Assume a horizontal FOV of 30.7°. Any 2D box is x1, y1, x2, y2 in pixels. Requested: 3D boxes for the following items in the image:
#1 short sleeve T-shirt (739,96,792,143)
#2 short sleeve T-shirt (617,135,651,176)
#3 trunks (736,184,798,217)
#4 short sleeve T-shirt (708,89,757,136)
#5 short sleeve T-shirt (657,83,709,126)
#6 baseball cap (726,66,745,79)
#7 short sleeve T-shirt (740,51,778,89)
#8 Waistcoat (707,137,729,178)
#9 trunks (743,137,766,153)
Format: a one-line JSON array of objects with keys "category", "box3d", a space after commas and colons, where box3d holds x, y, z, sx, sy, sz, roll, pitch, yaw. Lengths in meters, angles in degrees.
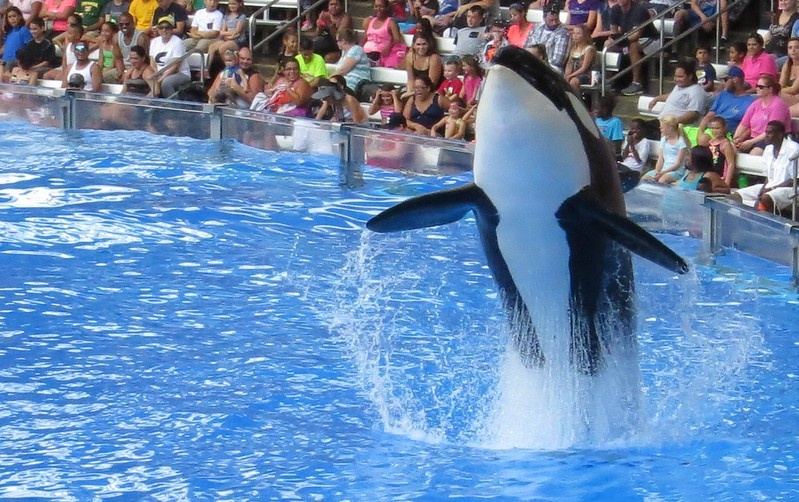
[{"category": "short sleeve T-shirt", "box3d": [4.520, -1.637, 18.041, 0.562, 0.589, 0.857, 2, 2, -31]}, {"category": "short sleeve T-shirt", "box3d": [3.016, -1.232, 18.609, 0.382, 0.444, 0.417, 4, 8, -34]}, {"category": "trunks", "box3d": [4.340, -0.622, 17.040, 0.369, 0.299, 0.840, -3, 9, -37]}, {"category": "short sleeve T-shirt", "box3d": [4.237, -1.795, 18.571, 0.353, 0.493, 0.633, -25, 37, -38]}, {"category": "short sleeve T-shirt", "box3d": [3.674, -1.876, 18.802, 0.494, 0.460, 0.596, 19, 4, -18]}, {"category": "baseball cap", "box3d": [4.274, -2.277, 18.558, 0.227, 0.112, 0.153, 25, 17, 18]}, {"category": "short sleeve T-shirt", "box3d": [4.680, -2.381, 19.007, 0.387, 0.430, 0.609, -9, 12, -24]}, {"category": "Waistcoat", "box3d": [3.885, -1.133, 17.823, 0.150, 0.350, 0.287, -20, 18, -26]}, {"category": "trunks", "box3d": [4.354, -1.279, 17.823, 0.154, 0.219, 0.074, 9, 50, 7]}]
